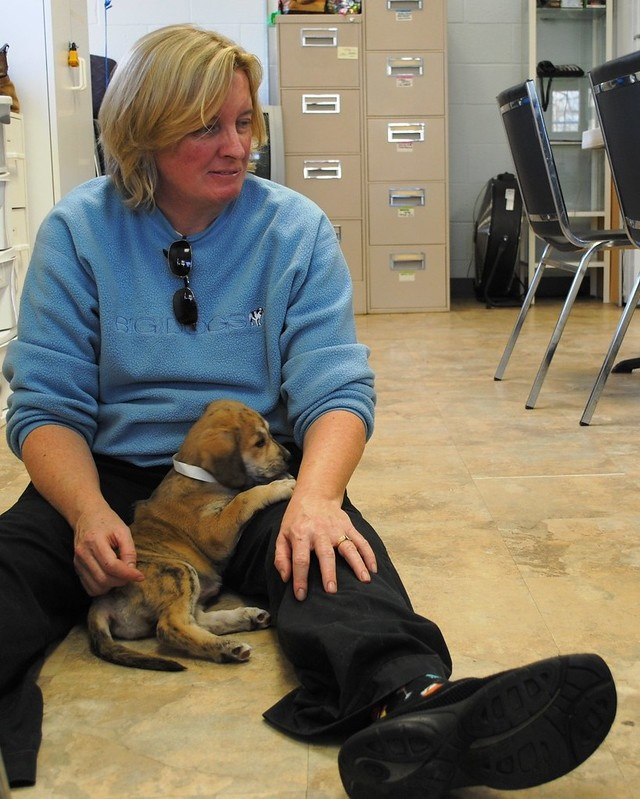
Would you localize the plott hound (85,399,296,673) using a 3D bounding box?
[{"bbox_3d":[-0.162,0.166,1.061,0.372,0.393,0.323,1,4,-10],"label":"plott hound"}]
